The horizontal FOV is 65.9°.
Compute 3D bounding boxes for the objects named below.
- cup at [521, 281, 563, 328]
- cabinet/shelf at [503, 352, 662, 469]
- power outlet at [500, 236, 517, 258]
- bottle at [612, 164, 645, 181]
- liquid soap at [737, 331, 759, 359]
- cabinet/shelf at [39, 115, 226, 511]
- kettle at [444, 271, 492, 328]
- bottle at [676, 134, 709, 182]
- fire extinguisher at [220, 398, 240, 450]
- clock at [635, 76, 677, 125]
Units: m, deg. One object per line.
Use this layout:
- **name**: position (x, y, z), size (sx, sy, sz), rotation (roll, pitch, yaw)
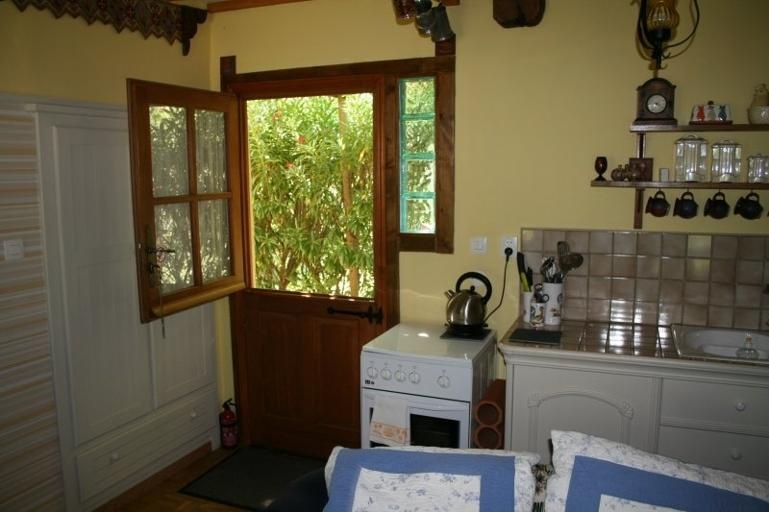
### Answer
- **cup**: position (1.069, 0.319, 3.978), size (0.275, 0.291, 0.197), rotation (3, 9, 6)
- **cabinet/shelf**: position (1.225, 0.765, 3.807), size (0.900, 0.943, 0.547), rotation (2, 4, 14)
- **power outlet**: position (0.860, -0.060, 4.104), size (0.133, 0.200, 0.021), rotation (1, 3, 15)
- **bottle**: position (1.530, -0.524, 3.755), size (0.153, 0.120, 0.099), rotation (1, 2, 9)
- **liquid soap**: position (2.218, 0.550, 3.643), size (0.147, 0.120, 0.130), rotation (-2, 10, -23)
- **cabinet/shelf**: position (-1.823, 0.380, 4.026), size (0.781, 2.609, 0.260), rotation (-6, 11, -40)
- **kettle**: position (0.556, 0.290, 4.011), size (0.300, 0.390, 0.244), rotation (11, 19, 20)
- **bottle**: position (1.935, -0.583, 3.701), size (0.151, 0.278, 0.169), rotation (3, 0, -28)
- **fire extinguisher**: position (-1.246, 1.349, 4.779), size (0.173, 0.397, 0.182), rotation (1, 8, 16)
- **clock**: position (1.679, -0.964, 3.667), size (0.229, 0.298, 0.163), rotation (11, 40, 33)
